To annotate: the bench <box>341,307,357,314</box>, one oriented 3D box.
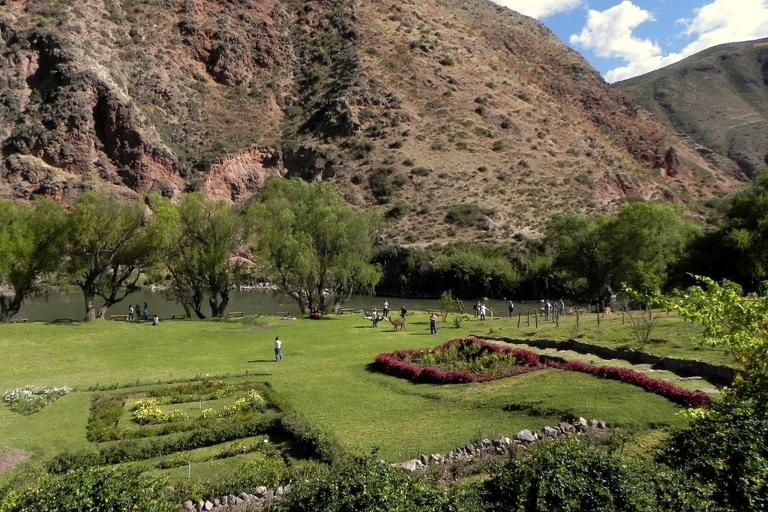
[{"bbox_3d":[-4.710,7.410,81.725,1.937,0.451,7.048,-1,-2,-2],"label":"bench"}]
